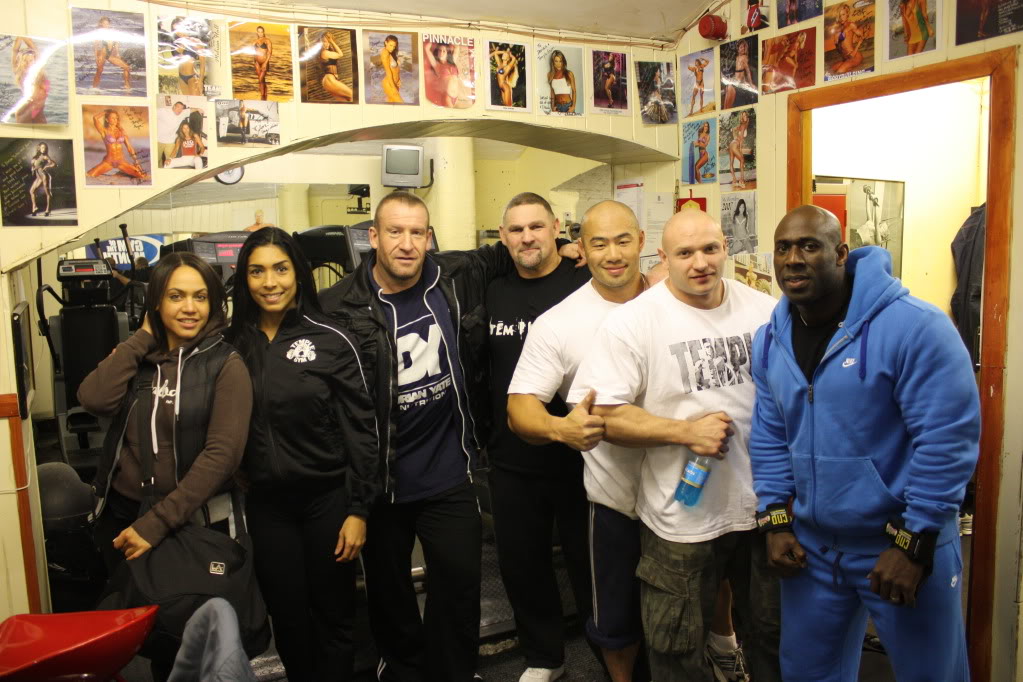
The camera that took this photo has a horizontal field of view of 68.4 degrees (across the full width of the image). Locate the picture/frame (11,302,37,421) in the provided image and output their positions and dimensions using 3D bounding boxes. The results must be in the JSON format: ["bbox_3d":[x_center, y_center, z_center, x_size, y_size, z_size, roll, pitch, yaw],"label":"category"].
[{"bbox_3d":[-2.549,0.105,3.954,0.079,0.617,0.517,-6,9,-31],"label":"picture/frame"}]

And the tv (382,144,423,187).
[{"bbox_3d":[-1.237,-2.014,8.673,0.533,0.508,0.283,0,1,-1],"label":"tv"}]
